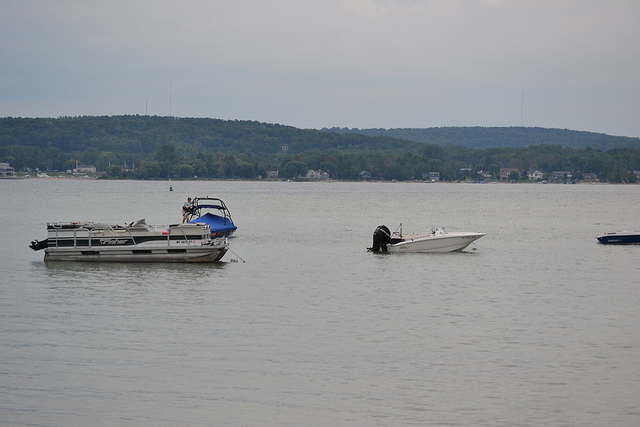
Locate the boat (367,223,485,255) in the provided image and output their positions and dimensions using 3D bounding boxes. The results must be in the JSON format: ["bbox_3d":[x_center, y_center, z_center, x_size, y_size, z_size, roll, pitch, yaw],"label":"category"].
[{"bbox_3d":[7.330,1.774,76.724,8.664,2.138,2.766,-2,2,-13],"label":"boat"}]

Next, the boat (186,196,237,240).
[{"bbox_3d":[-8.060,0.287,87.223,3.967,2.905,6.792,0,-2,-9],"label":"boat"}]
